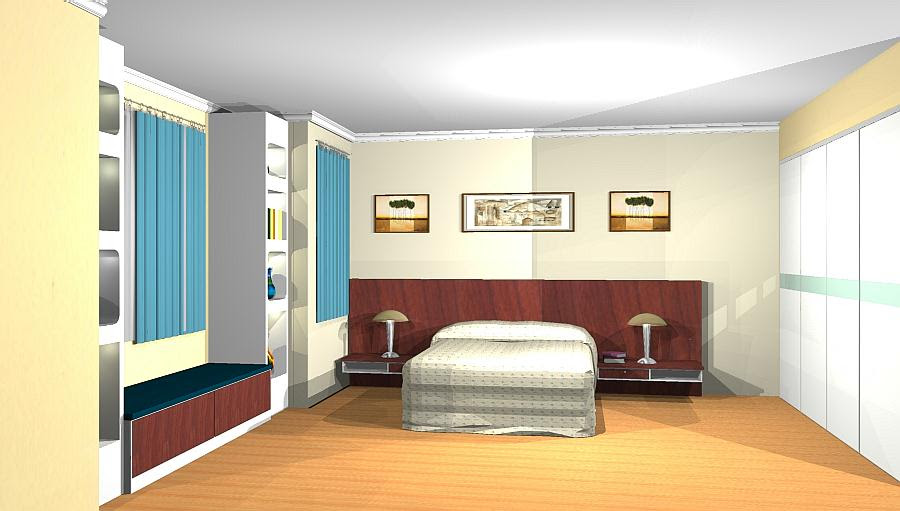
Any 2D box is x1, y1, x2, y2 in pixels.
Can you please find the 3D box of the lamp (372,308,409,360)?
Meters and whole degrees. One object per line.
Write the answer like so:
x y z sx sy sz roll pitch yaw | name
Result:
-0.809 1.051 7.535 0.671 0.596 0.601 0 -3 4 | lamp

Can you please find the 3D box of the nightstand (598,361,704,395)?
2.569 1.605 7.205 1.311 0.477 0.394 1 8 10 | nightstand

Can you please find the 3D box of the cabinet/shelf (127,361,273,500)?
-2.575 1.594 5.554 0.472 0.741 1.637 3 8 22 | cabinet/shelf

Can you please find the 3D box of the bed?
0.669 1.345 6.984 2.486 0.773 2.297 1 7 20 | bed

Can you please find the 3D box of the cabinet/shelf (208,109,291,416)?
-2.380 0.102 6.621 0.843 3.507 0.843 0 8 -3 | cabinet/shelf
